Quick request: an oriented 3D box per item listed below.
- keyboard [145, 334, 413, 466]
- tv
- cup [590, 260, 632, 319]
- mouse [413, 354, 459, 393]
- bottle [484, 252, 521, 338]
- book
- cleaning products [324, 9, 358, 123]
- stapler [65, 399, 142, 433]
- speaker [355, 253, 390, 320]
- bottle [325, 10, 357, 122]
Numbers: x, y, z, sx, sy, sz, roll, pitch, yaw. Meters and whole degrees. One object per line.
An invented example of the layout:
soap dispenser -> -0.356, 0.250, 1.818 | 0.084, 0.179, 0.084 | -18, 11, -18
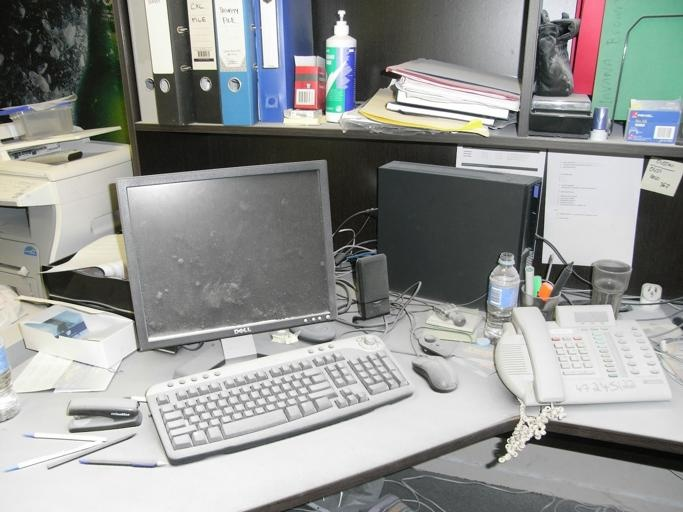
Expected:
keyboard -> -0.135, 0.343, 1.300 | 0.628, 0.071, 0.273 | -8, 29, -27
tv -> -0.294, 0.040, 1.367 | 0.522, 0.454, 0.046 | -10, 6, -18
cup -> 0.823, 0.082, 1.616 | 0.094, 0.200, 0.106 | 2, 17, 7
mouse -> 0.247, 0.298, 1.390 | 0.088, 0.050, 0.151 | -10, 23, -25
bottle -> 0.455, 0.121, 1.575 | 0.087, 0.261, 0.103 | 19, 21, 36
book -> 0.350, -0.516, 1.614 | 0.394, 0.196, 0.210 | 4, 20, 14
cleaning products -> 0.001, -0.616, 1.693 | 0.108, 0.345, 0.110 | -2, 19, -2
stapler -> -0.559, 0.376, 1.228 | 0.151, 0.055, 0.078 | -1, 25, -14
speaker -> 0.087, 0.083, 1.648 | 0.089, 0.193, 0.113 | 17, 17, 37
bottle -> -0.003, -0.615, 1.693 | 0.097, 0.344, 0.110 | 0, 17, 1
